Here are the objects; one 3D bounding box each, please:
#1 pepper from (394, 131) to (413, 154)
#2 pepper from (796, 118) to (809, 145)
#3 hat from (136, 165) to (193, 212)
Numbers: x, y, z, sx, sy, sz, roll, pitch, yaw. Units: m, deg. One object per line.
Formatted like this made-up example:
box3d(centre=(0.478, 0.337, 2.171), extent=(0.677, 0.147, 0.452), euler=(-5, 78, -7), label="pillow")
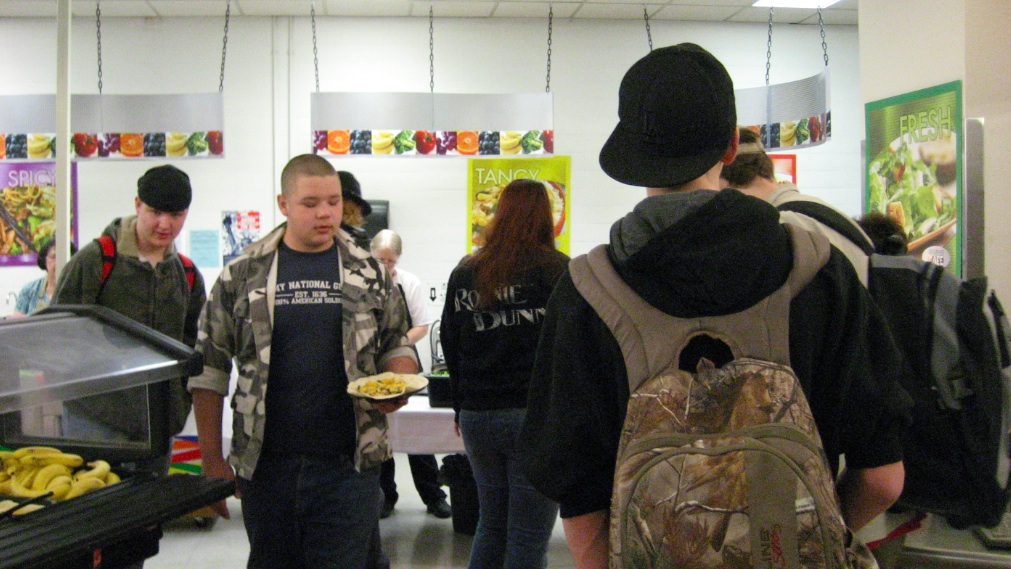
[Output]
box3d(centre=(-0.913, -1.275, 7.256), extent=(0.196, 0.199, 0.100), euler=(1, -4, -7), label="pepper")
box3d(centre=(2.537, -1.322, 6.891), extent=(0.097, 0.176, 0.148), euler=(2, 2, 4), label="pepper")
box3d(centre=(-2.078, -0.598, 4.908), extent=(0.263, 0.162, 0.346), euler=(18, 7, -29), label="hat")
